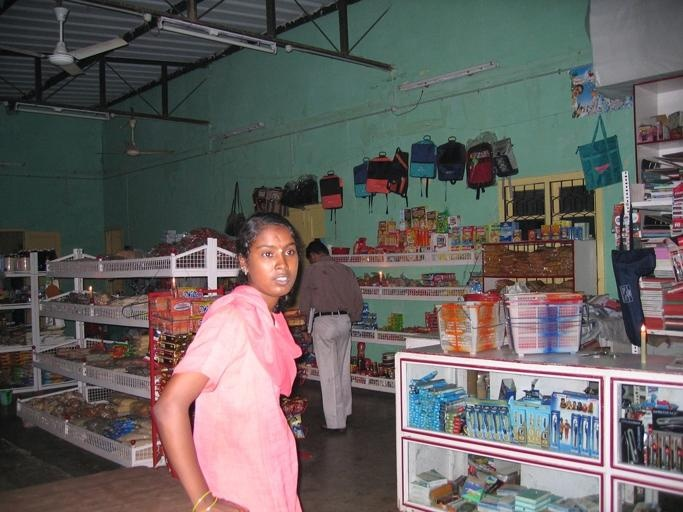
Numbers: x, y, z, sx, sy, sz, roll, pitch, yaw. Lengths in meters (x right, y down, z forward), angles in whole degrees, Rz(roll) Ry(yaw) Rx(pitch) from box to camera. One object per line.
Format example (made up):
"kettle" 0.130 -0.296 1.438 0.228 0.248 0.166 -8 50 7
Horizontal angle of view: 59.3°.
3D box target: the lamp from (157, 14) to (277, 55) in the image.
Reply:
"lamp" -1.624 -2.929 7.959 1.530 0.432 0.442 -3 1 -27

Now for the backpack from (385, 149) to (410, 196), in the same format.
"backpack" 0.913 -1.302 9.403 0.386 0.665 0.185 12 5 39

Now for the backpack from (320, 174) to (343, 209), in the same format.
"backpack" -0.155 -1.109 10.289 0.527 0.730 0.219 -4 -4 33

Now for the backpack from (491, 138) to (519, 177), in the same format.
"backpack" 2.294 -1.358 8.520 0.364 0.602 0.337 7 -28 -3

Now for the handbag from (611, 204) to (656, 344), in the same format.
"handbag" 2.591 0.201 5.261 0.346 1.217 0.299 1 -9 -11

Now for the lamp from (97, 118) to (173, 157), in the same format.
"lamp" -4.406 -2.649 13.255 0.379 0.814 1.745 14 14 24

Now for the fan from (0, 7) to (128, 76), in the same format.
"fan" -4.897 -3.845 10.573 1.598 0.784 1.734 -6 -5 18
